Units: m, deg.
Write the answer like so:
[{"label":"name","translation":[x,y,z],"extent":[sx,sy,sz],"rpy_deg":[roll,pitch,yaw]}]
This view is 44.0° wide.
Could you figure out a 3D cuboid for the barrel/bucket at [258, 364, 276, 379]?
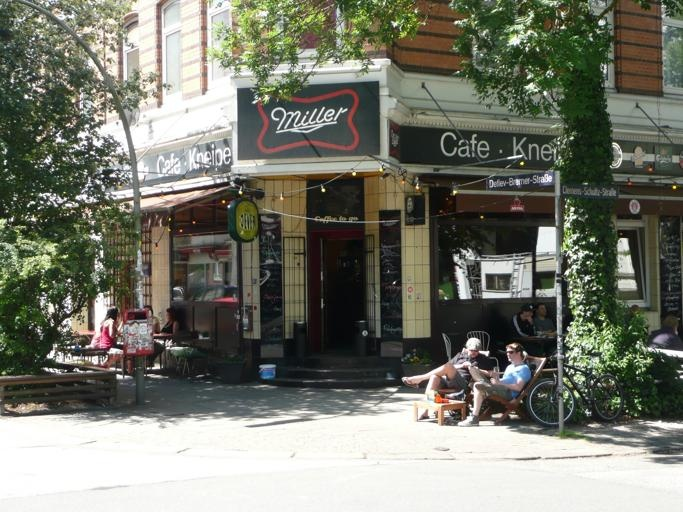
[{"label":"barrel/bucket","translation":[-1.773,2.728,20.011],"extent":[0.337,0.246,0.344],"rpy_deg":[2,-4,0]}]

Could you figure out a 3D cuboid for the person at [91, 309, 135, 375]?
[{"label":"person","translation":[-5.755,2.030,20.680],"extent":[0.703,1.439,2.028],"rpy_deg":[-3,6,-16]}]

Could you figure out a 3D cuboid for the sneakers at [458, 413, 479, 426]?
[{"label":"sneakers","translation":[2.374,3.058,15.809],"extent":[0.389,0.200,0.232],"rpy_deg":[0,6,6]}]

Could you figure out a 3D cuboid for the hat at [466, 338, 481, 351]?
[{"label":"hat","translation":[2.598,1.739,16.636],"extent":[0.241,0.196,0.382],"rpy_deg":[-1,-12,8]}]

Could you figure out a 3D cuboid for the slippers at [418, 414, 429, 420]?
[{"label":"slippers","translation":[1.568,3.109,16.289],"extent":[0.242,0.158,0.079],"rpy_deg":[2,-11,-11]}]

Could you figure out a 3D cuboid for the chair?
[{"label":"chair","translation":[2.892,2.410,16.478],"extent":[1.761,1.585,1.133],"rpy_deg":[1,-4,-3]}]

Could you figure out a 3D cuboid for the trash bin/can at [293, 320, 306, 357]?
[{"label":"trash bin/can","translation":[-1.011,2.018,20.527],"extent":[0.331,0.834,0.354],"rpy_deg":[-2,6,-5]}]

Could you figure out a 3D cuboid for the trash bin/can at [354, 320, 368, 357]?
[{"label":"trash bin/can","translation":[0.484,1.982,20.534],"extent":[0.288,0.793,0.440],"rpy_deg":[-1,6,1]}]

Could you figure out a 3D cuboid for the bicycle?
[{"label":"bicycle","translation":[4.386,2.645,16.184],"extent":[2.013,1.148,0.989],"rpy_deg":[2,-10,-10]}]

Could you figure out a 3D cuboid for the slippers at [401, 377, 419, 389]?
[{"label":"slippers","translation":[1.393,2.526,17.016],"extent":[0.362,0.256,0.784],"rpy_deg":[-2,-9,-2]}]
